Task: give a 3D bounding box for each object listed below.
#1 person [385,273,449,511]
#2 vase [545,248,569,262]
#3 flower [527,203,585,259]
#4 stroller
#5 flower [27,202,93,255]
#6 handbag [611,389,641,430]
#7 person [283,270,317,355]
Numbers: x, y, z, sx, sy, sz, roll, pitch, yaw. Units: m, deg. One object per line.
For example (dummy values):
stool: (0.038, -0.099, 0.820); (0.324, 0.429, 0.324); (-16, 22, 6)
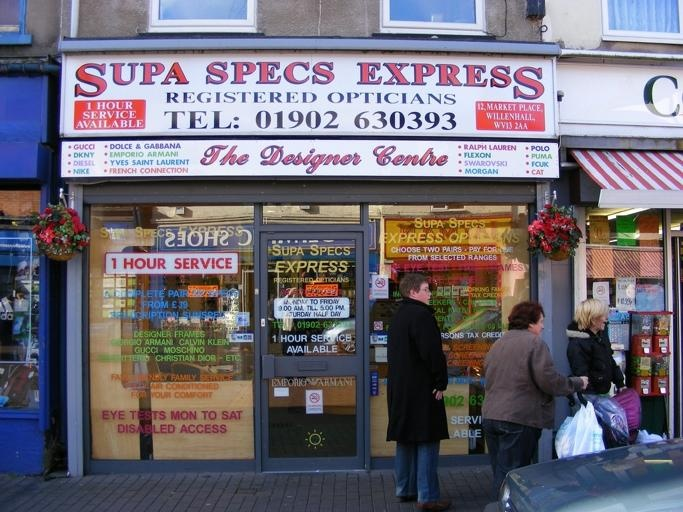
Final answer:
person: (0.822, 1.499, 9.763); (0.693, 2.613, 0.469); (-4, -6, 19)
vase: (2.522, 0.007, 10.445); (0.175, 0.091, 0.177); (2, -8, -15)
flower: (2.555, -0.258, 10.577); (0.570, 0.660, 0.594); (-12, 7, -20)
stroller: (2.975, 1.769, 9.631); (0.979, 0.642, 0.931); (-7, -2, 14)
flower: (-3.317, -0.202, 10.553); (0.626, 0.587, 0.618); (6, 8, -11)
handbag: (3.154, 1.715, 9.851); (0.357, 0.333, 0.359); (-1, -8, -6)
person: (-0.585, 0.788, 10.930); (0.438, 0.776, 0.189); (1, 1, 1)
